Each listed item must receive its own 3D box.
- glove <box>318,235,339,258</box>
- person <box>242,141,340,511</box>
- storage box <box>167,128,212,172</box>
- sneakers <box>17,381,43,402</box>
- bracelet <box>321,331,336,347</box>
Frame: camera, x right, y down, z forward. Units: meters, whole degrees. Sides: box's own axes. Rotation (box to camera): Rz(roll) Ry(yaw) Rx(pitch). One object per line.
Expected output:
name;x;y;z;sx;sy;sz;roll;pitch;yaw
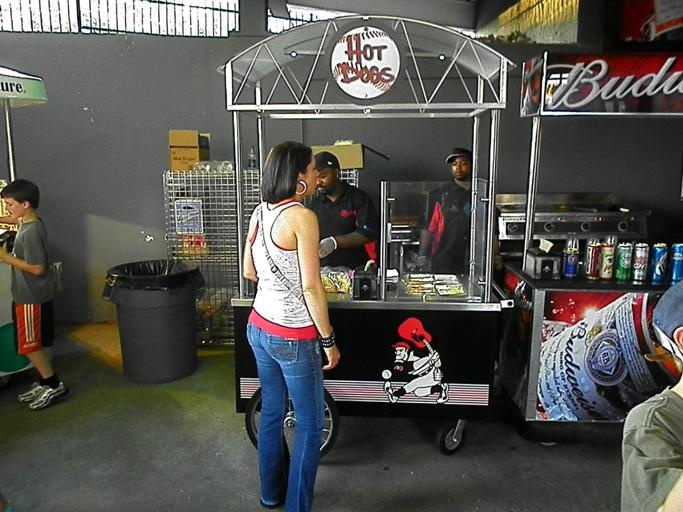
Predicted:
glove;-0.120;-0.070;3.795;0.120;0.164;0.155;-9;-33;38
person;-0.282;0.466;2.760;0.415;2.131;0.476;-6;14;-25
storage box;-1.623;-1.127;5.496;0.378;0.528;0.723;0;10;-2
sneakers;-2.582;1.120;4.157;0.079;0.087;0.214;18;34;30
bracelet;-0.073;0.435;2.672;0.065;0.055;0.074;-2;5;-19
